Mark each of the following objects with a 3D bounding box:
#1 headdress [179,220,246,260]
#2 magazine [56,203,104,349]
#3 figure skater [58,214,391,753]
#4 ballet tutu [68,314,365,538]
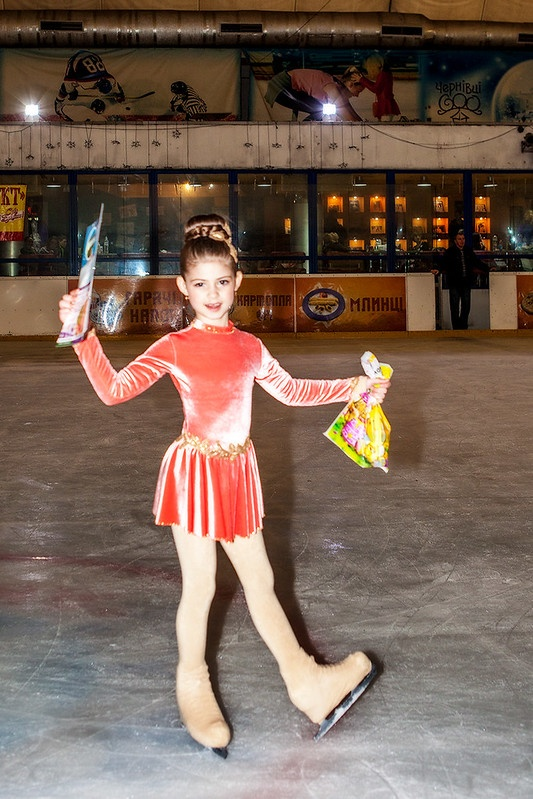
[{"bbox_3d":[-0.122,-0.344,1.716,0.108,0.086,0.065,-2,12,-13],"label":"headdress"},{"bbox_3d":[-0.325,-0.217,1.436,0.056,0.246,0.041,14,6,32],"label":"magazine"},{"bbox_3d":[-0.062,0.174,1.703,0.690,1.092,0.328,-2,5,-4],"label":"figure skater"},{"bbox_3d":[-0.110,0.066,1.707,0.699,0.455,0.230,-6,9,-40],"label":"ballet tutu"}]
